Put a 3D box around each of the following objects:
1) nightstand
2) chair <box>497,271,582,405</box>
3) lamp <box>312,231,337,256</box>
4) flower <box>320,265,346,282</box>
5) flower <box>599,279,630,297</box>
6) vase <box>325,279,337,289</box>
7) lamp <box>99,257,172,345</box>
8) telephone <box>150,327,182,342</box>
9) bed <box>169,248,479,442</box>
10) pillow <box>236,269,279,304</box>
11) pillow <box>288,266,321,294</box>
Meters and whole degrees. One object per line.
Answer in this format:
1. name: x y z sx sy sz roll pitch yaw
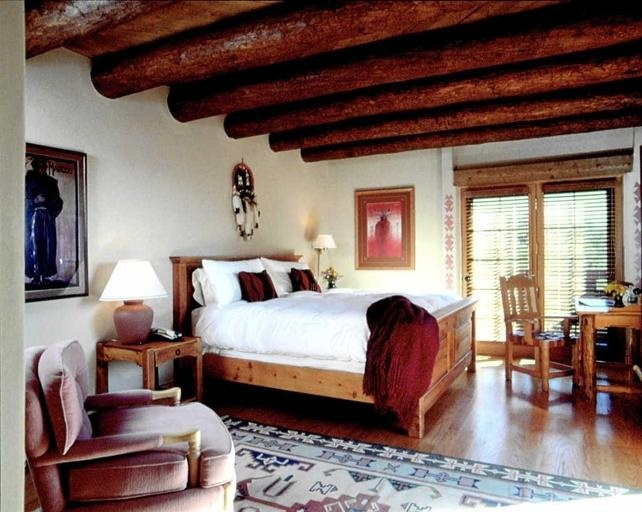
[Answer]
1. nightstand: -1.424 0.833 4.250 0.604 0.661 0.611 -2 -3 29
2. chair: 2.355 0.761 5.525 0.778 1.131 1.717 2 6 25
3. lamp: 0.054 -0.179 7.160 0.306 0.353 0.313 1 -4 -41
4. flower: 0.133 0.252 7.291 0.242 0.185 0.236 4 -1 -28
5. flower: 3.117 0.332 5.400 0.173 0.078 0.176 -11 1 -18
6. vase: 0.134 0.390 7.232 0.119 0.166 0.146 -1 -1 32
7. lamp: -1.441 0.349 4.166 0.604 0.724 0.603 -2 1 -37
8. telephone: -1.284 0.649 4.215 0.160 0.051 0.126 6 -2 12
9. bed: 0.059 0.860 4.555 1.807 1.008 1.851 -1 0 33
10. pillow: -0.635 0.290 4.934 0.109 0.255 0.408 -29 -13 25
11. pillow: -0.217 0.285 5.713 0.103 0.267 0.368 -32 -16 25
